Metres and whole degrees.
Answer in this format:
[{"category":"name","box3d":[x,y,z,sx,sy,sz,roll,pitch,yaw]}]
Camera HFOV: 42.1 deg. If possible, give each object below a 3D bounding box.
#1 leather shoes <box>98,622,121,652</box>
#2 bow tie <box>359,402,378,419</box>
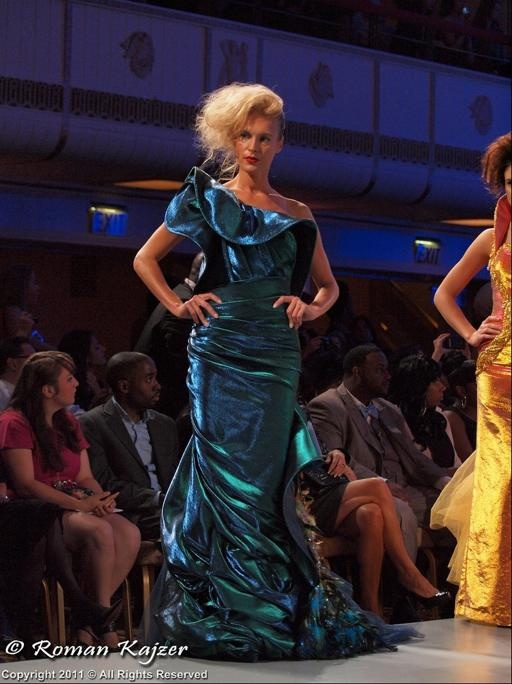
[{"category":"leather shoes","box3d":[-0.496,0.999,2.260,0.049,0.048,0.141,6,-14,-25]},{"category":"bow tie","box3d":[0.576,0.354,3.431,0.081,0.084,0.056,-5,6,-8]}]
